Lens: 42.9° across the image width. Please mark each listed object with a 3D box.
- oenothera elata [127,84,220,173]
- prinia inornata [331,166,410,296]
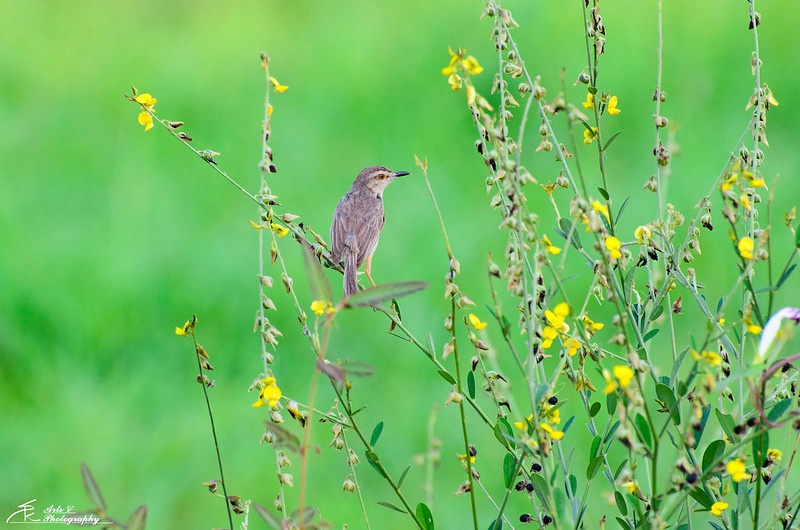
[{"bbox_3d":[-1.432,-0.830,6.407,0.242,0.744,0.206,-36,-10,-41],"label":"oenothera elata"},{"bbox_3d":[-0.195,-0.201,6.299,0.344,0.796,0.886,2,3,-8],"label":"prinia inornata"}]
